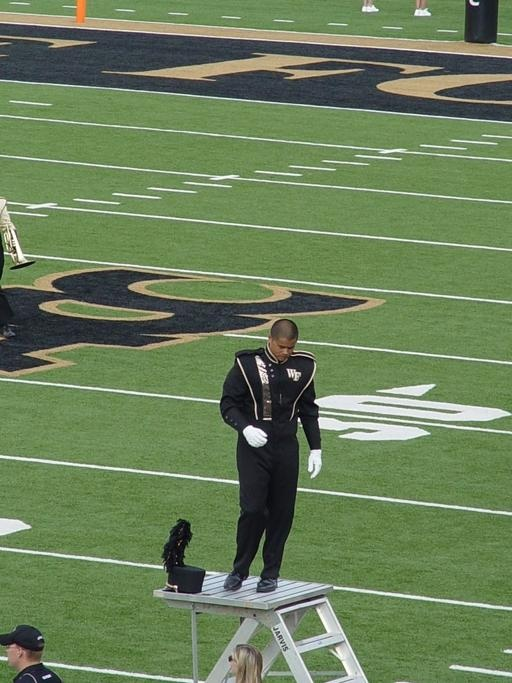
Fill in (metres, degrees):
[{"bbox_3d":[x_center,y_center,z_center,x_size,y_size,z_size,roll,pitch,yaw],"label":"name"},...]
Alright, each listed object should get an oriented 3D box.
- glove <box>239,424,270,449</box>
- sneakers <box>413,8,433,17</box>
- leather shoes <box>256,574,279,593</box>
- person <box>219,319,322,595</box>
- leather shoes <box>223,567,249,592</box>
[{"bbox_3d":[0.015,0.679,16.125,0.127,0.168,0.065,-44,-2,-35],"label":"glove"},{"bbox_3d":[3.482,-6.788,46.421,0.163,0.186,0.404,7,10,24],"label":"sneakers"},{"bbox_3d":[0.082,1.739,16.087,0.063,0.091,0.203,-4,-11,18],"label":"leather shoes"},{"bbox_3d":[0.070,0.790,16.333,0.689,1.893,1.025,6,15,22],"label":"person"},{"bbox_3d":[-0.155,1.723,16.143,0.078,0.086,0.221,24,6,11],"label":"leather shoes"}]
